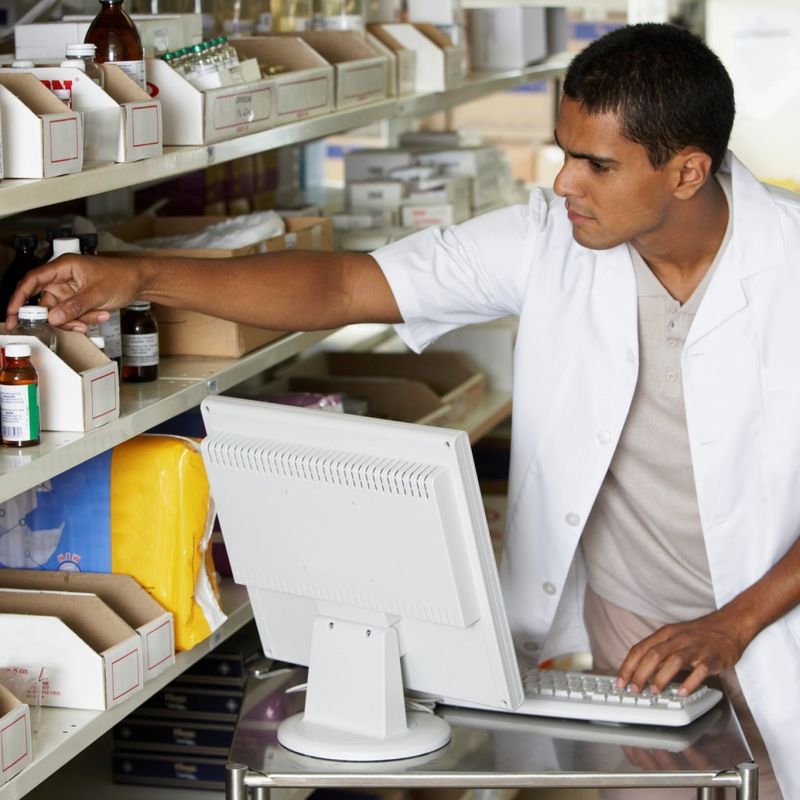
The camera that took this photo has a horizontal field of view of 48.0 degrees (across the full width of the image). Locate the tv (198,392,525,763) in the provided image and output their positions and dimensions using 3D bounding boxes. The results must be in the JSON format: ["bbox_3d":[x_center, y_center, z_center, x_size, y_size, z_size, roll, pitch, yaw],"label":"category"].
[{"bbox_3d":[-0.075,0.205,0.994,0.341,0.404,0.148,5,23,31],"label":"tv"}]

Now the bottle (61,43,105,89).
[{"bbox_3d":[-0.423,-0.445,1.191,0.045,0.059,0.100,-10,17,-11],"label":"bottle"}]

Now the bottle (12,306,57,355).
[{"bbox_3d":[-0.471,-0.091,1.164,0.049,0.067,0.067,-15,20,-25],"label":"bottle"}]

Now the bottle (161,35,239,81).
[{"bbox_3d":[-0.321,-0.569,1.492,0.132,0.037,0.111,-1,26,26],"label":"bottle"}]
